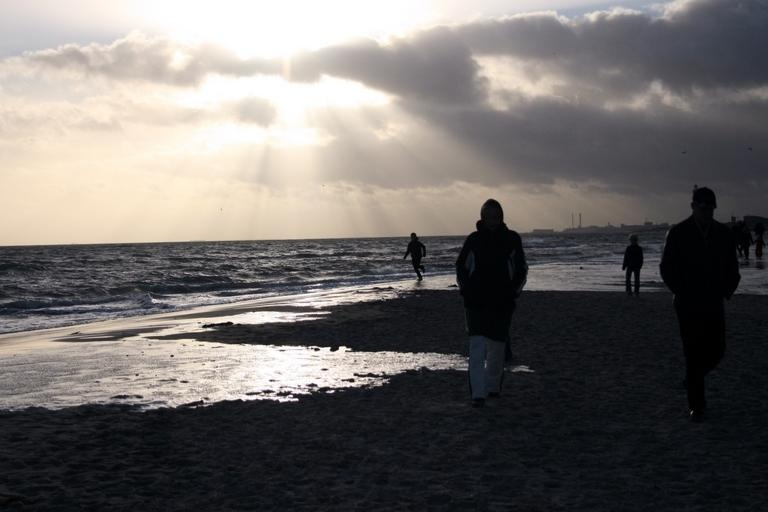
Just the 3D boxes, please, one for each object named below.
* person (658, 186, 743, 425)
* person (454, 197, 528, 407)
[{"bbox_3d":[3.933,0.586,9.188,0.888,2.840,0.316,3,4,22],"label":"person"},{"bbox_3d":[1.435,0.616,9.895,0.942,2.741,0.569,1,4,1],"label":"person"}]
